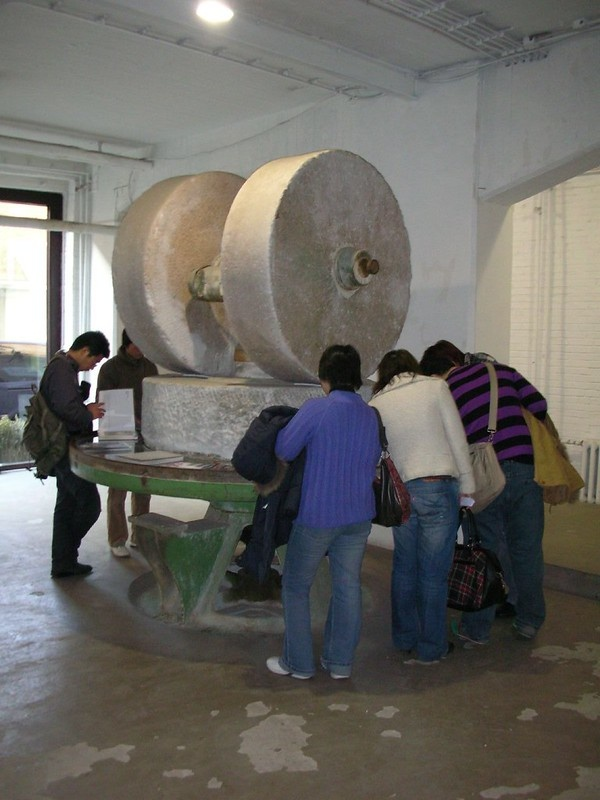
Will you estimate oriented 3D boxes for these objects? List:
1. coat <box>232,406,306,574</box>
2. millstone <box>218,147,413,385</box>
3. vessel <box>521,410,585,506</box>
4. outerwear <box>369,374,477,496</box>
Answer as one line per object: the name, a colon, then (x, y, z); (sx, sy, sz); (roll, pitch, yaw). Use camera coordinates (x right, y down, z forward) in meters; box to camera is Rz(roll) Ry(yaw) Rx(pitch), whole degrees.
coat: (-0.103, 0.323, 2.167); (0.233, 0.607, 0.310); (0, 0, -2)
millstone: (0.071, -0.543, 2.726); (0.393, 0.934, 0.861); (1, 1, 40)
vessel: (1.086, 0.232, 2.802); (0.191, 0.327, 0.157); (3, -24, -26)
outerwear: (0.433, 0.142, 2.351); (0.363, 0.448, 0.194); (-23, 5, -3)
